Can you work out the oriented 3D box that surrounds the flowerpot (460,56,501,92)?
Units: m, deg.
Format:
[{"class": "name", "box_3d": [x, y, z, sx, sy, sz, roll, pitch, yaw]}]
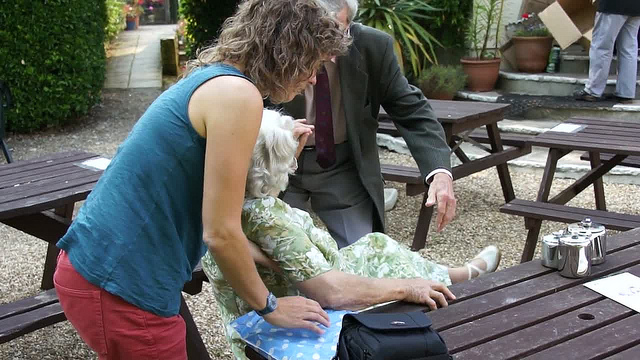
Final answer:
[{"class": "flowerpot", "box_3d": [2.441, -1.620, 7.837, 0.572, 0.481, 0.233, 3, 22, 12]}]

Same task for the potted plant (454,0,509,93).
[{"class": "potted plant", "box_3d": [2.479, -2.107, 7.913, 0.703, 1.360, 1.013, 4, 22, 16]}]

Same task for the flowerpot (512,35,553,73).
[{"class": "flowerpot", "box_3d": [3.296, -1.993, 8.000, 0.574, 0.553, 0.201, 5, 22, 17]}]

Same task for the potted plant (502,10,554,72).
[{"class": "potted plant", "box_3d": [3.352, -2.217, 8.128, 0.798, 0.889, 0.717, -16, 25, -34]}]

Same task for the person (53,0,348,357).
[{"class": "person", "box_3d": [-0.614, 0.007, 2.483, 1.392, 1.665, 0.667, -4, 21, -5]}]

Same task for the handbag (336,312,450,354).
[{"class": "handbag", "box_3d": [0.344, 0.742, 2.460, 0.367, 0.130, 0.261, 0, 1, -10]}]

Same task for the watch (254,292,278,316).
[{"class": "watch", "box_3d": [-0.275, 0.631, 2.567, 0.101, 0.063, 0.104, -36, 3, 18]}]
